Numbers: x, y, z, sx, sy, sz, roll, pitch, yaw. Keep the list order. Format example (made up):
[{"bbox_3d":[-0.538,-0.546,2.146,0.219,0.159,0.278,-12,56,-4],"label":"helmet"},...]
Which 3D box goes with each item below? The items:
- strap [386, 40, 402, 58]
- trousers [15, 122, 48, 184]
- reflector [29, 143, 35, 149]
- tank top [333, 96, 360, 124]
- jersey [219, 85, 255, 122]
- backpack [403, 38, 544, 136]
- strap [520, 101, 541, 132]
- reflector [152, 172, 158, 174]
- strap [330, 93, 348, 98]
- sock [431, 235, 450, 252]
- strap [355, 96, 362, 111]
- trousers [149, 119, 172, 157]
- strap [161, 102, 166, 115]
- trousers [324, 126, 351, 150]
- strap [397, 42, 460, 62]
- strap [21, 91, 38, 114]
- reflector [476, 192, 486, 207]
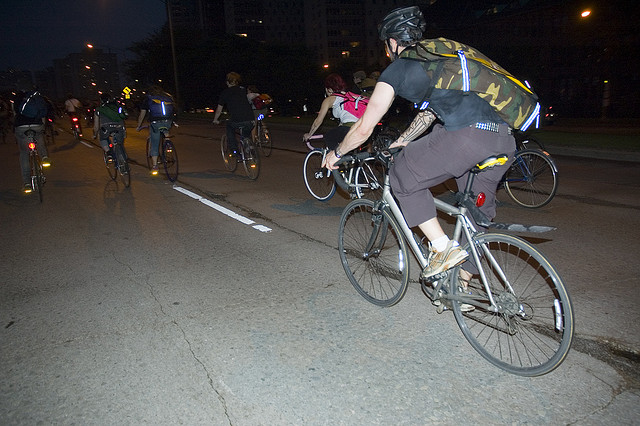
[{"bbox_3d":[0.662,-1.461,3.646,0.047,0.179,0.141,-12,4,33],"label":"strap"},{"bbox_3d":[-6.684,-1.396,9.542,0.568,1.440,0.457,-8,20,-30],"label":"trousers"},{"bbox_3d":[-6.585,-1.556,9.349,0.111,0.099,0.027,-18,7,-33],"label":"reflector"},{"bbox_3d":[0.479,-1.978,7.772,0.578,0.504,0.167,16,22,40],"label":"tank top"},{"bbox_3d":[-2.222,-2.931,10.884,0.787,0.978,0.366,-25,11,-23],"label":"jersey"},{"bbox_3d":[1.286,-1.096,3.476,1.180,0.744,0.366,-1,17,-9],"label":"backpack"},{"bbox_3d":[1.842,-0.847,3.545,0.113,0.236,0.265,16,21,38],"label":"strap"},{"bbox_3d":[-4.465,-1.111,11.079,0.130,0.063,0.132,-4,17,-20],"label":"reflector"},{"bbox_3d":[0.368,-2.260,7.765,0.362,0.079,0.094,15,21,40],"label":"strap"},{"bbox_3d":[1.070,0.266,3.632,0.144,0.139,0.117,5,17,9],"label":"sock"},{"bbox_3d":[0.723,-2.084,7.694,0.135,0.318,0.086,7,37,9],"label":"strap"},{"bbox_3d":[-4.206,-1.972,10.658,0.617,0.996,0.481,13,20,31],"label":"trousers"},{"bbox_3d":[-3.969,-2.689,10.400,0.067,0.292,0.105,-6,19,-25],"label":"strap"},{"bbox_3d":[0.287,-1.470,7.843,0.231,0.450,0.622,-12,21,-39],"label":"trousers"},{"bbox_3d":[0.865,-1.291,3.358,0.332,0.144,0.225,9,20,1],"label":"strap"},{"bbox_3d":[-6.561,-2.464,9.092,0.323,0.098,0.377,-52,4,-29],"label":"strap"},{"bbox_3d":[1.403,-0.123,3.563,0.059,0.133,0.186,10,18,24],"label":"reflector"}]
